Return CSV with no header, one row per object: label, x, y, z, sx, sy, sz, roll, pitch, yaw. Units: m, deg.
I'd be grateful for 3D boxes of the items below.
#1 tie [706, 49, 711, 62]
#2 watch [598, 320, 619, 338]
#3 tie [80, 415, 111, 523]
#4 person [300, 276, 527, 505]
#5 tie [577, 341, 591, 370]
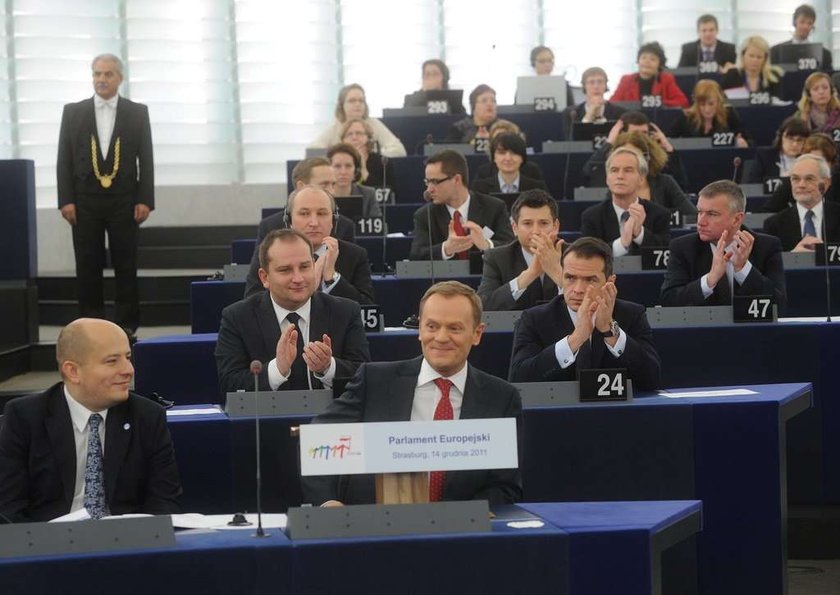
tie,3.115,-2.607,11.698,0.077,0.111,0.028,-2,-12,12
watch,0.867,0.154,4.997,0.084,0.092,0.057,-5,-32,25
tie,-1.282,0.661,4.241,0.091,0.392,0.175,-3,3,-17
person,-0.061,0.366,4.121,0.725,0.829,0.816,0,3,41
tie,0.746,0.264,4.966,0.028,0.117,0.083,8,-8,34
